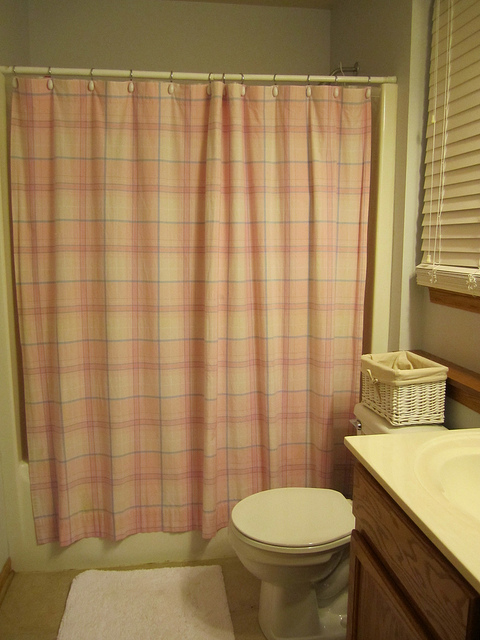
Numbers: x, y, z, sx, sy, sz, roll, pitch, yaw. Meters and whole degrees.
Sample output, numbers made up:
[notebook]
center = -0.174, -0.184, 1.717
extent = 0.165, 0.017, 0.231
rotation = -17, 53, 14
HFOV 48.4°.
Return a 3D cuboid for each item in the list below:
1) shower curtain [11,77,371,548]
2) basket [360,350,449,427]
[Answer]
[shower curtain]
center = -0.220, -0.065, 1.928
extent = 1.521, 2.214, 0.201
rotation = -1, 6, -9
[basket]
center = 0.520, 0.215, 1.726
extent = 0.218, 0.187, 0.288
rotation = -2, 9, -11
